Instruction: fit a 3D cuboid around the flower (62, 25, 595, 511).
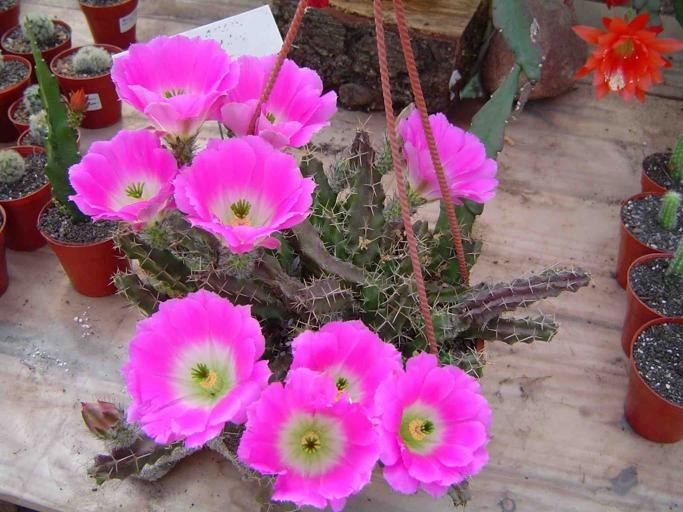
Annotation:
[{"bbox_3d":[-0.096,0.055,1.420,0.929,0.666,1.073,-4,86,-4],"label":"flower"}]
